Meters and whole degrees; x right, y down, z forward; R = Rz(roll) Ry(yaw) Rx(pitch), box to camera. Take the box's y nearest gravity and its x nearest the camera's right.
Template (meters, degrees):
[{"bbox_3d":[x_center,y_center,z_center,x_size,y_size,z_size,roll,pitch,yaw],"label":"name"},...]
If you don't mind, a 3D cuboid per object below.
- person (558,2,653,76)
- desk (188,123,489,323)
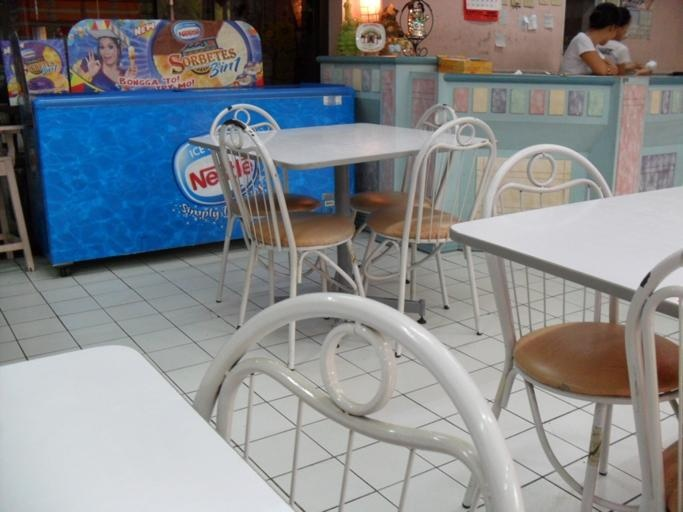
[{"bbox_3d":[2.535,-2.081,4.795,0.667,0.645,1.626,12,26,29],"label":"person"},{"bbox_3d":[-0.073,-0.615,3.251,1.327,1.289,1.314,-15,29,-28],"label":"desk"}]
